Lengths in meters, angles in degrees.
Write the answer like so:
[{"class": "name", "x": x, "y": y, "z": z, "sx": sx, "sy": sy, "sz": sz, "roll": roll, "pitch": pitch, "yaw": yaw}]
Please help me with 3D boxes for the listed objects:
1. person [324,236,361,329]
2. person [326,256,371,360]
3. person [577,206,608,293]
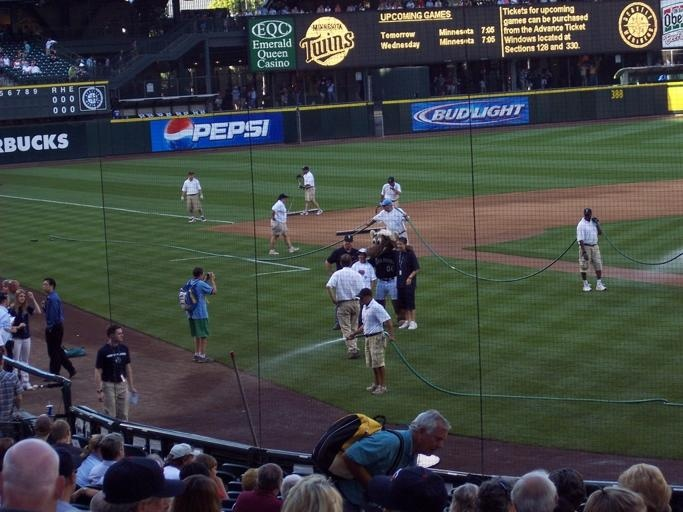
[{"class": "person", "x": 0.086, "y": 0.714, "z": 50.392, "sx": 1.277, "sy": 2.948, "sz": 1.075, "roll": 2, "pitch": 14, "yaw": 4}, {"class": "person", "x": 0.262, "y": 1.645, "z": 48.662, "sx": 1.349, "sy": 2.703, "sz": 1.189, "roll": 1, "pitch": 11, "yaw": -2}, {"class": "person", "x": 8.426, "y": -0.224, "z": 51.292, "sx": 1.056, "sy": 2.618, "sz": 0.904, "roll": 12, "pitch": 17, "yaw": 38}]
